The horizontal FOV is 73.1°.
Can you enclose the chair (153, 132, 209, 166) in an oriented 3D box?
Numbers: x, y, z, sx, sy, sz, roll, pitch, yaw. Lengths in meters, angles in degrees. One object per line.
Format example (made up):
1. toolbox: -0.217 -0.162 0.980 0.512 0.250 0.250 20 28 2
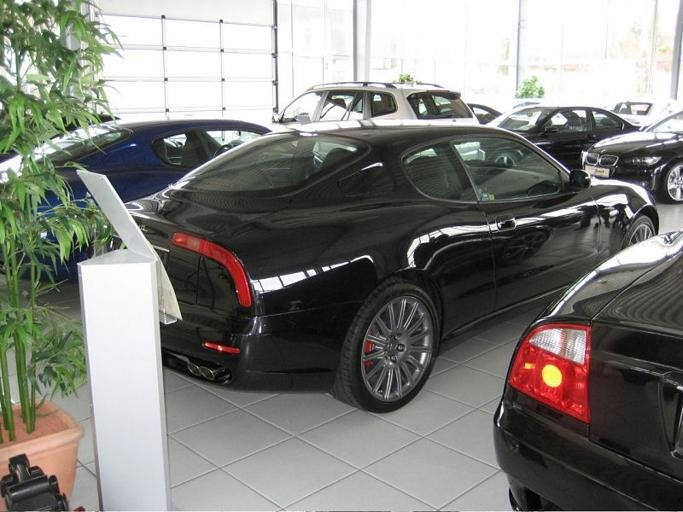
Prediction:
1. chair: -1.559 -1.069 4.614 0.577 0.190 0.296 -6 19 -20
